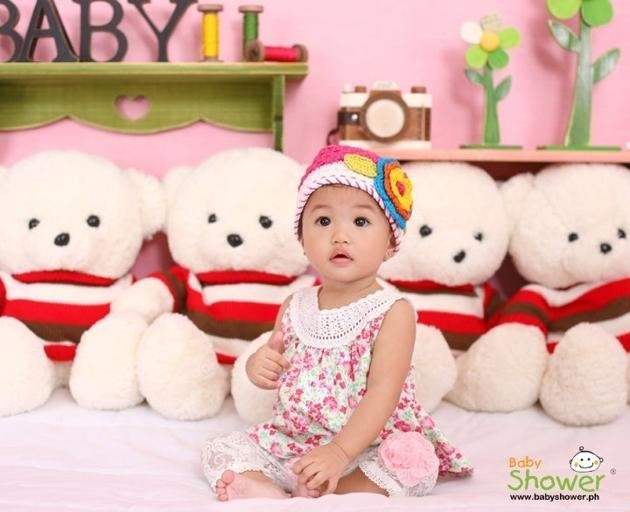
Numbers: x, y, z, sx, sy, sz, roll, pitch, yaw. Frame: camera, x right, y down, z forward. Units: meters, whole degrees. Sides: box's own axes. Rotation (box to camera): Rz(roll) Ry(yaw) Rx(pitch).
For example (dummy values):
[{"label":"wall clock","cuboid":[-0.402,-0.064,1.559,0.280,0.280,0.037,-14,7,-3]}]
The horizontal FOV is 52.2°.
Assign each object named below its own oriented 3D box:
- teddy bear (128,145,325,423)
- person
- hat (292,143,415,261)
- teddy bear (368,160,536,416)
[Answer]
[{"label":"teddy bear","cuboid":[-0.261,0.038,1.900,0.644,0.792,0.645,9,9,3]},{"label":"person","cuboid":[0.027,0.132,1.337,0.477,0.728,0.419,-6,9,-43]},{"label":"hat","cuboid":[0.094,-0.134,1.461,0.269,0.183,0.264,-4,-20,45]},{"label":"teddy bear","cuboid":[0.391,0.077,1.996,0.526,0.724,0.498,2,-3,-23]}]
